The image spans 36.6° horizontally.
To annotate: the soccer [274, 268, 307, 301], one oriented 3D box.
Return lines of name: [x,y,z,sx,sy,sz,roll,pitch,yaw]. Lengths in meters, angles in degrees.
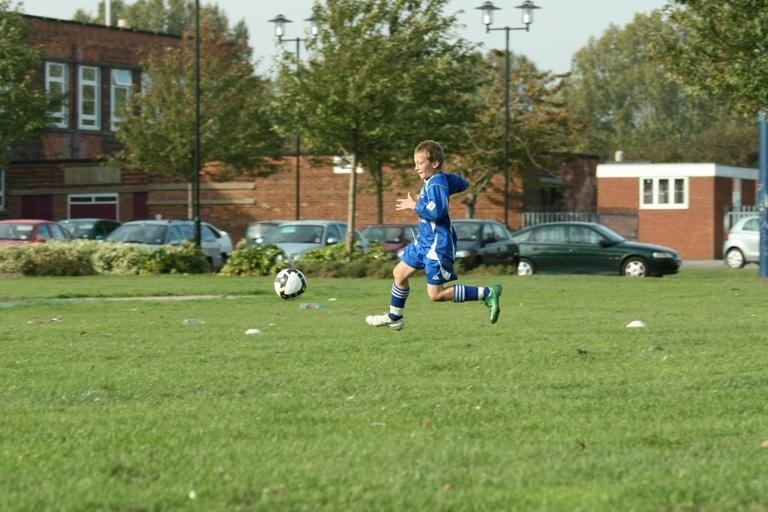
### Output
soccer: [-1.925,0.540,24.209,0.738,0.610,0.643,-17,7,7]

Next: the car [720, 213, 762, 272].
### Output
car: [12.408,-0.477,39.974,0.733,1.700,1.554,-1,1,-36]
